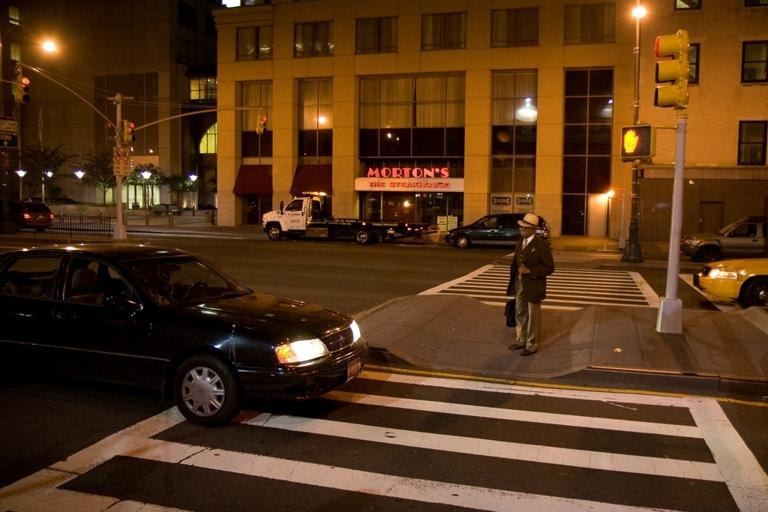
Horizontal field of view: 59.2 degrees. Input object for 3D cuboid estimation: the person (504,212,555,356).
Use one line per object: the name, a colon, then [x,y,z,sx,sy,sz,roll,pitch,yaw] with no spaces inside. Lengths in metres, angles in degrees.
person: [2.694,0.561,12.701,0.696,2.611,0.751,-6,16,-23]

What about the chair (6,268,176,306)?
chair: [-4.933,0.474,10.887,2.071,0.491,1.073,4,5,14]

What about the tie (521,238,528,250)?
tie: [2.635,-0.234,12.564,0.148,0.174,0.217,3,15,11]

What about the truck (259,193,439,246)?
truck: [-1.072,-1.829,38.404,12.099,3.592,3.282,3,4,18]

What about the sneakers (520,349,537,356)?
sneakers: [2.721,1.827,12.754,0.323,0.085,0.117,7,-10,-42]

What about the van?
van: [5.407,-1.236,34.452,4.580,1.632,2.082,2,4,12]

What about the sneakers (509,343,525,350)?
sneakers: [2.588,1.736,13.099,0.329,0.127,0.122,2,6,2]

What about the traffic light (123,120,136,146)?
traffic light: [-12.930,-6.268,34.376,0.579,1.269,1.795,-6,16,-20]

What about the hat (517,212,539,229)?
hat: [2.816,-0.651,12.767,0.436,0.166,0.374,4,7,-17]

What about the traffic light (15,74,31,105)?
traffic light: [-15.530,-7.148,29.146,0.593,1.149,3.989,-7,16,-26]
